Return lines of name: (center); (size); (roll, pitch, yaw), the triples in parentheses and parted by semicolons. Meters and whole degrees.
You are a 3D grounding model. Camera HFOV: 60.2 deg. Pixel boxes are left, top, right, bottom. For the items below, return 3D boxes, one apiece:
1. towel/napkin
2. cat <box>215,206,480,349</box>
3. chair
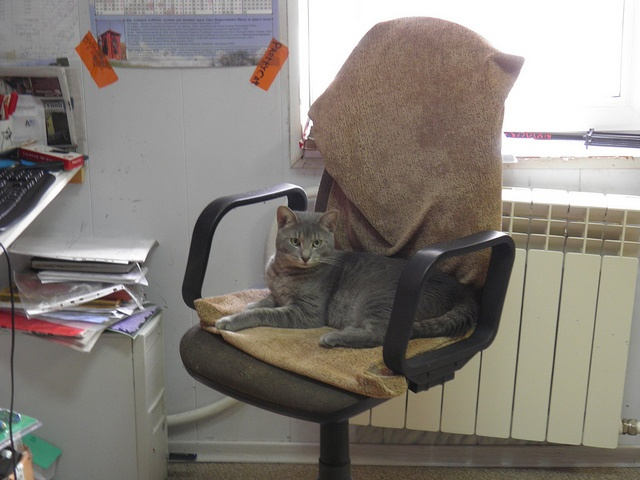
towel/napkin: (0.322, -0.227, 1.676); (0.608, 0.687, 0.217); (34, 24, 24)
cat: (0.108, 0.052, 1.418); (0.480, 0.237, 0.386); (6, -1, 15)
chair: (0.113, 0.036, 1.389); (0.667, 1.144, 0.727); (12, 22, 34)
